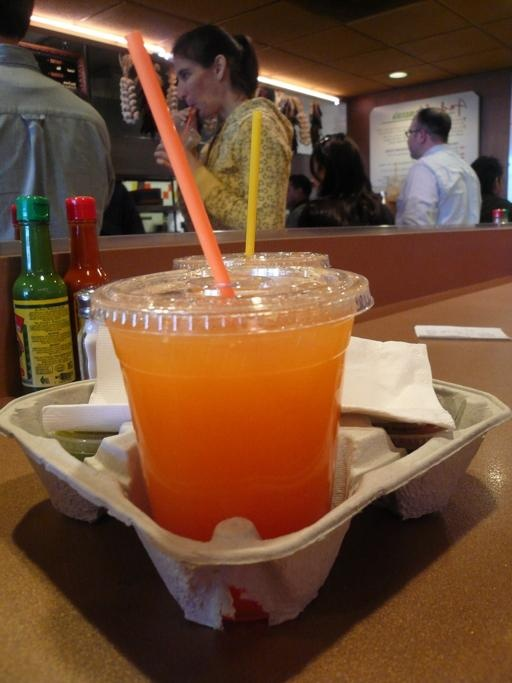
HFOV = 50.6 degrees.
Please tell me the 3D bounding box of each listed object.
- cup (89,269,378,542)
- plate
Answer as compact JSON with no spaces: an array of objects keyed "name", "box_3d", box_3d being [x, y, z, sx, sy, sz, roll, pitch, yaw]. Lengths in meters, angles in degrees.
[{"name":"cup","box_3d":[-0.003,0.030,0.341,0.147,0.118,0.140,-3,13,1]},{"name":"plate","box_3d":[-0.004,0.073,0.407,0.305,0.063,0.303,-12,15,-41]}]
